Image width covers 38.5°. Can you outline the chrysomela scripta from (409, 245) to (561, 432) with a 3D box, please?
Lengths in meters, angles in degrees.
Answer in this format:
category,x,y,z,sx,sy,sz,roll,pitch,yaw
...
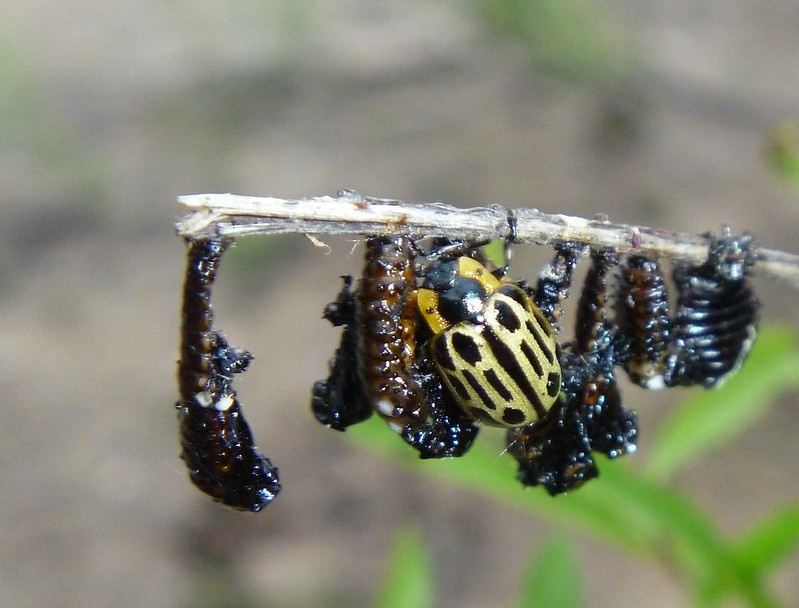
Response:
category,x,y,z,sx,sy,sz,roll,pitch,yaw
chrysomela scripta,0.339,0.149,4.254,0.472,0.678,0.221,-43,6,-8

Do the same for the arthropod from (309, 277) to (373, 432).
category,x,y,z,sx,sy,sz,roll,pitch,yaw
arthropod,-0.215,0.213,4.305,0.229,0.567,0.256,-7,23,-7

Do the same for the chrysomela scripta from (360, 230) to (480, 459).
category,x,y,z,sx,sy,sz,roll,pitch,yaw
chrysomela scripta,0.147,0.160,4.349,0.212,0.739,0.727,-16,15,13

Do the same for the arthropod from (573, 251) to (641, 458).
category,x,y,z,sx,sy,sz,roll,pitch,yaw
arthropod,0.754,0.178,4.352,0.221,0.767,0.221,1,4,-12

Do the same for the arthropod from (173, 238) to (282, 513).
category,x,y,z,sx,sy,sz,roll,pitch,yaw
arthropod,-0.645,0.286,4.109,0.395,1.065,0.290,-9,26,-18
